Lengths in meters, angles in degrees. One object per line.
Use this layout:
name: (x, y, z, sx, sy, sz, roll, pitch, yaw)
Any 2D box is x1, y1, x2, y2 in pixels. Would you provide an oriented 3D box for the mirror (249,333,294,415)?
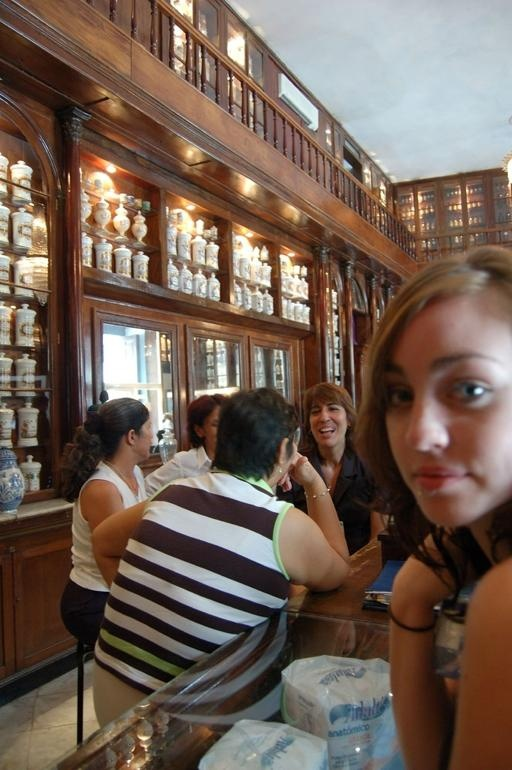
mirror: (0.088, -0.132, 3.965, 0.051, 0.617, 0.645, -5, -8, 33)
